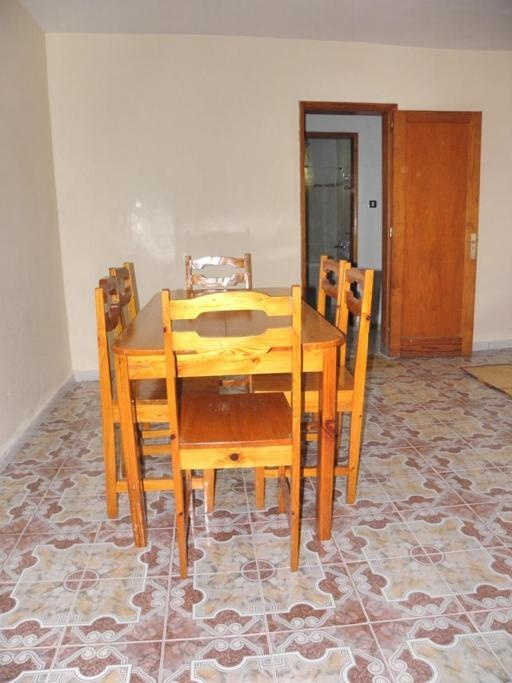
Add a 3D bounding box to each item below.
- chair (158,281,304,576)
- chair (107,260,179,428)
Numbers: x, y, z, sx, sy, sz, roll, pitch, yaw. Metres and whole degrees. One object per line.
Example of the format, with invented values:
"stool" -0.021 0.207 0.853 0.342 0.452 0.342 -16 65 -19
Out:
"chair" -0.057 0.227 1.915 0.478 0.907 0.786 -2 12 -4
"chair" -0.426 -0.008 2.312 0.275 0.561 0.660 0 16 -1
